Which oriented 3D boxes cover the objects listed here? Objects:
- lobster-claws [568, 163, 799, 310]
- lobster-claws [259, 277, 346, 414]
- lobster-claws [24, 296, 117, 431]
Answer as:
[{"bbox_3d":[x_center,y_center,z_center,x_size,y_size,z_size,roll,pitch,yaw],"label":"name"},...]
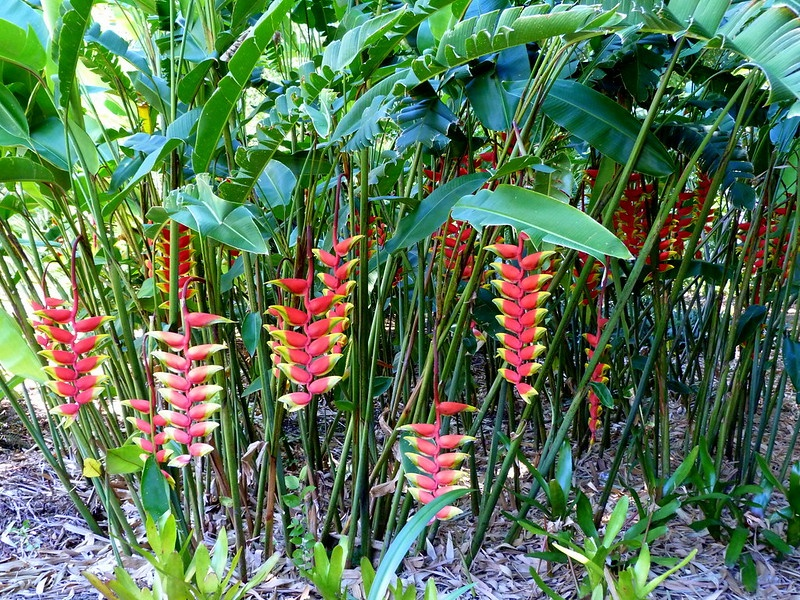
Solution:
[{"bbox_3d":[0.763,-0.103,2.271,0.521,0.210,0.485,7,-8,-10],"label":"lobster-claws"},{"bbox_3d":[-0.229,0.138,1.815,0.180,0.430,0.315,3,17,-10],"label":"lobster-claws"},{"bbox_3d":[-0.816,0.157,1.887,0.164,0.458,0.407,-3,20,-27],"label":"lobster-claws"}]
